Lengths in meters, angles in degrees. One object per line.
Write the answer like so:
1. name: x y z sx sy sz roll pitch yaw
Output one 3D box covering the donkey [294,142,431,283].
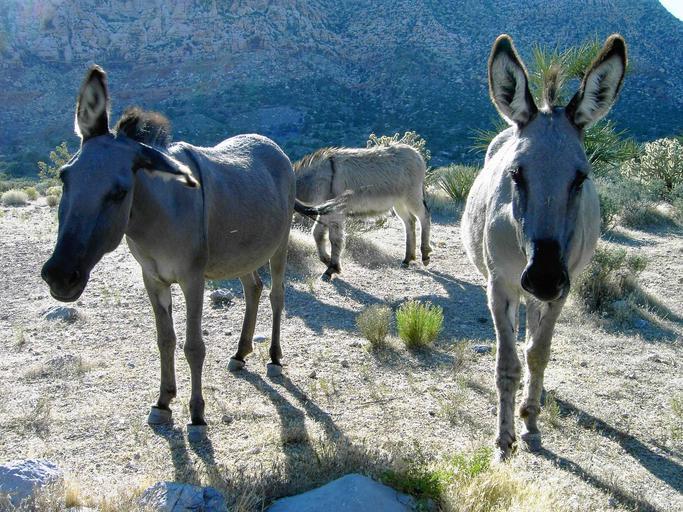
1. donkey: 0.047 -1.069 16.681 3.747 3.064 1.111 -7 8 -6
